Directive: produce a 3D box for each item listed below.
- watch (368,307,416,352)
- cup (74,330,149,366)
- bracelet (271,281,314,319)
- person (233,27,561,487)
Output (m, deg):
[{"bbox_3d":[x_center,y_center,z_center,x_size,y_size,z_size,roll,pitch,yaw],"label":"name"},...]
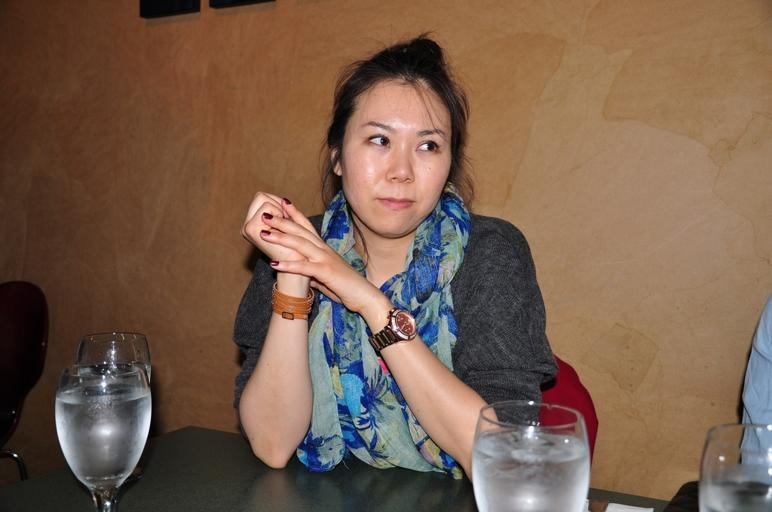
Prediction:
[{"bbox_3d":[0.016,0.209,1.958,0.089,0.055,0.086,-35,3,37],"label":"watch"},{"bbox_3d":[-0.722,0.241,1.851,0.117,0.111,0.117,2,-3,0],"label":"cup"},{"bbox_3d":[-0.287,0.138,2.128,0.106,0.072,0.106,4,7,-3],"label":"bracelet"},{"bbox_3d":[0.027,0.020,2.237,1.053,1.375,0.891,6,9,8],"label":"person"}]
